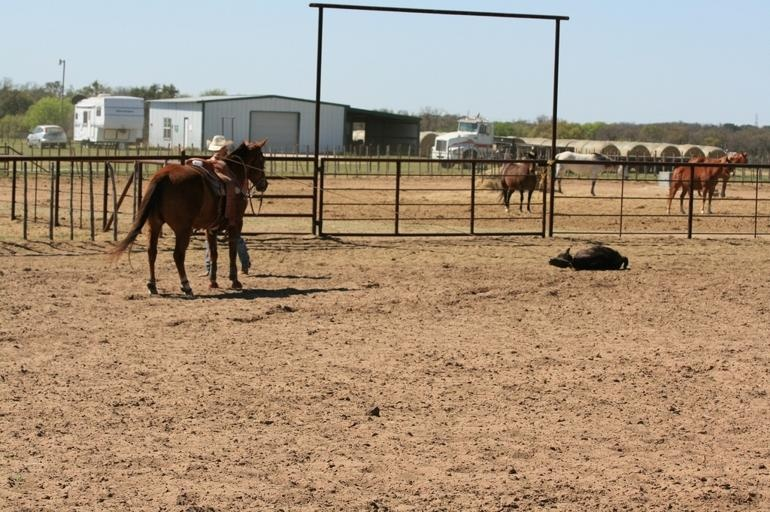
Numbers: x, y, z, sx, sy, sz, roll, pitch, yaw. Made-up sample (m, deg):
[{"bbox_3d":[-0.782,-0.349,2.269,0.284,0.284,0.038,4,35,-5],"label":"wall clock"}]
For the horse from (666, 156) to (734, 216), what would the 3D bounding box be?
[{"bbox_3d":[7.633,-1.668,24.272,0.475,1.312,1.876,4,0,-34],"label":"horse"}]

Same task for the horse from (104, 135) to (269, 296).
[{"bbox_3d":[-2.597,-0.551,14.048,0.800,2.262,3.444,3,6,25],"label":"horse"}]

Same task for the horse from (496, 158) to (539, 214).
[{"bbox_3d":[3.330,-1.768,24.553,0.535,1.345,2.045,3,4,-16],"label":"horse"}]

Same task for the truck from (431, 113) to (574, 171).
[{"bbox_3d":[5.231,-5.542,49.214,5.537,2.272,1.752,-6,8,-38],"label":"truck"}]
